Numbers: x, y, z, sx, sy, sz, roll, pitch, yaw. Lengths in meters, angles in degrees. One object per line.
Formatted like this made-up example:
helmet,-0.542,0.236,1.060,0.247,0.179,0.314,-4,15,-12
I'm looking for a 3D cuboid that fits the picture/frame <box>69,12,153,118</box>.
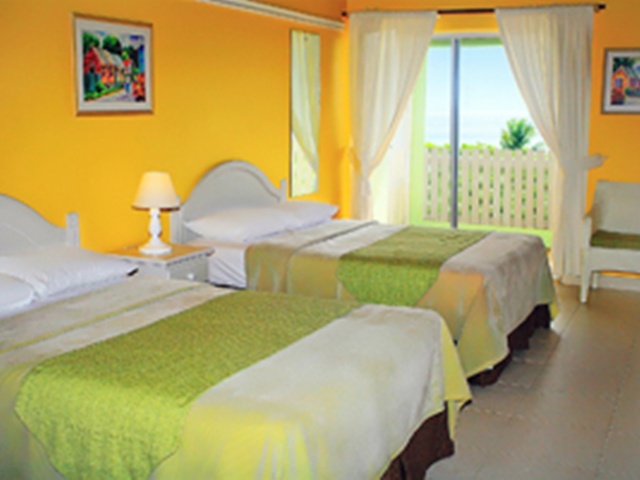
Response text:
picture/frame,-1.681,-1.405,3.801,0.021,0.738,0.948,6,12,24
